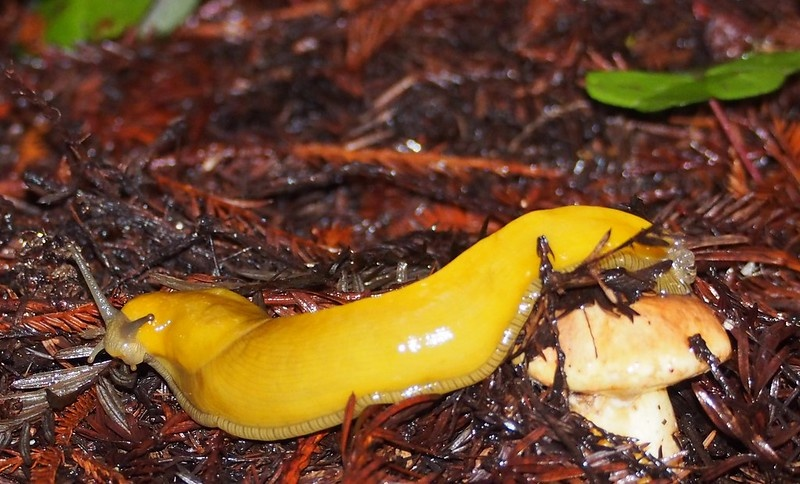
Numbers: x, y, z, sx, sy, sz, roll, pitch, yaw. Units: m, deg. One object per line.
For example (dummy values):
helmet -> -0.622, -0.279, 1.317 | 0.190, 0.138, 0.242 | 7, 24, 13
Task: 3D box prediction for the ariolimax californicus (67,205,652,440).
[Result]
ariolimax californicus -> -0.098, 0.337, 4.767 | 3.304, 0.872, 1.235 | -16, 41, -17
